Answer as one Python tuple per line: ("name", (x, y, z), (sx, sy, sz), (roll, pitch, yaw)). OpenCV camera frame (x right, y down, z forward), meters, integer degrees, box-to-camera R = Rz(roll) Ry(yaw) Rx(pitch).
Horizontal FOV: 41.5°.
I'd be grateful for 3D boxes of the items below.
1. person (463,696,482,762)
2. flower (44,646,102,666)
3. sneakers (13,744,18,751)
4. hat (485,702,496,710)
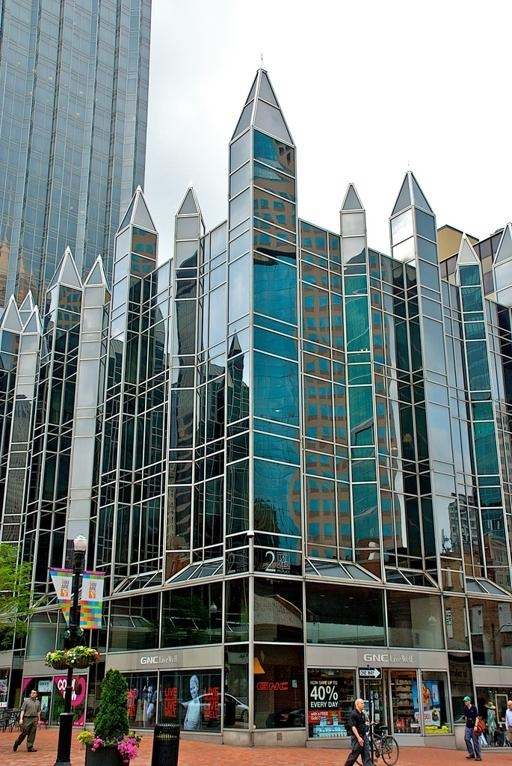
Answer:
("person", (6.327, 9.998, 19.825), (0.460, 1.601, 2.992), (-6, -25, 15))
("flower", (-3.670, 5.419, 13.499), (0.775, 0.366, 0.796), (-3, -13, 18))
("sneakers", (-6.286, 9.372, 17.543), (0.086, 0.168, 0.556), (8, -25, -17))
("hat", (8.899, 12.103, 25.644), (0.255, 0.130, 0.363), (2, -19, 22))
